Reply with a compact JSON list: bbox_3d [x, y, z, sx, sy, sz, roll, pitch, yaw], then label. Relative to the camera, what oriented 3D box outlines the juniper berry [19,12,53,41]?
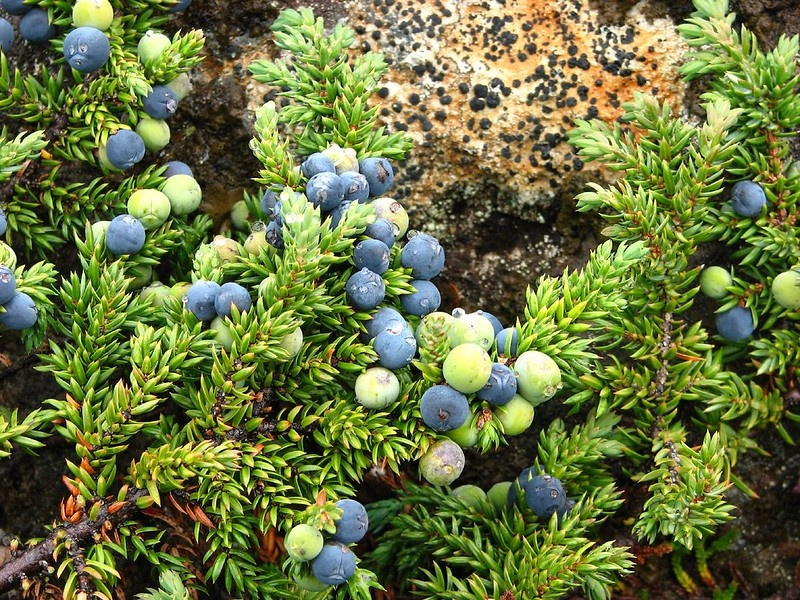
[{"bbox_3d":[-1.345,-1.018,3.046,0.122,0.127,0.060,-1,58,-9],"label":"juniper berry"}]

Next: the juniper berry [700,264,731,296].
[{"bbox_3d":[1.176,-0.071,3.068,0.111,0.111,0.132,-2,93,-11],"label":"juniper berry"}]

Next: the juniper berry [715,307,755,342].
[{"bbox_3d":[1.255,0.098,3.055,0.128,0.070,0.129,28,101,9],"label":"juniper berry"}]
